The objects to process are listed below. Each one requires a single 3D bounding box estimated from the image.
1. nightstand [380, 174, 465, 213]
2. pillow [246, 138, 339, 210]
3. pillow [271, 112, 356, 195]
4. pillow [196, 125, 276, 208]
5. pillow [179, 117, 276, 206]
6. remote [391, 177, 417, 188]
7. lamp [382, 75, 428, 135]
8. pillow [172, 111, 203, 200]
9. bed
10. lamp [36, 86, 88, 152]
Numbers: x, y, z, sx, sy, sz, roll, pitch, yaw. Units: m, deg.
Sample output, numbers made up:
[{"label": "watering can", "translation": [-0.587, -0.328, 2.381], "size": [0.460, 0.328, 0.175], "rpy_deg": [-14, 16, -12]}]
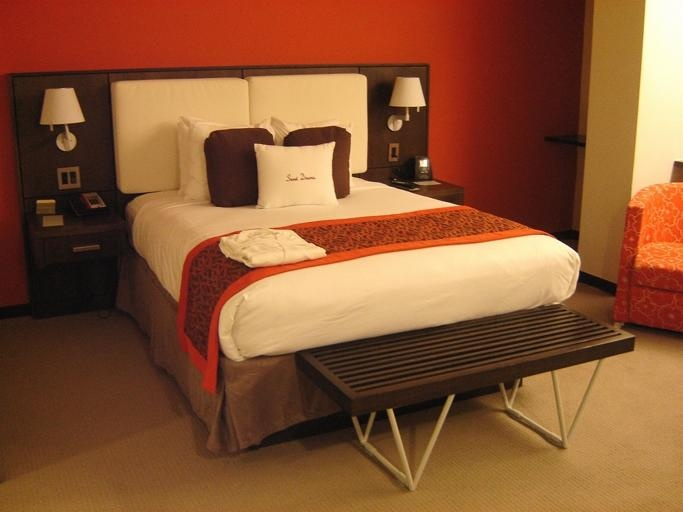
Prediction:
[{"label": "nightstand", "translation": [0.787, -0.693, 4.948], "size": [0.588, 0.376, 0.389], "rpy_deg": [-12, 28, -28]}, {"label": "pillow", "translation": [-0.364, -0.559, 3.833], "size": [0.488, 0.348, 0.168], "rpy_deg": [-8, -14, -16]}, {"label": "pillow", "translation": [-0.204, -0.762, 4.218], "size": [0.662, 0.620, 0.194], "rpy_deg": [-6, -2, -36]}, {"label": "pillow", "translation": [-0.800, -0.629, 3.937], "size": [0.200, 0.562, 0.577], "rpy_deg": [7, 12, 25]}, {"label": "pillow", "translation": [-0.948, -0.670, 4.205], "size": [0.776, 0.614, 0.869], "rpy_deg": [3, 14, 38]}, {"label": "remote", "translation": [0.573, -0.661, 4.930], "size": [0.079, 0.037, 0.342], "rpy_deg": [-4, 14, -24]}, {"label": "lamp", "translation": [0.586, -1.359, 4.968], "size": [0.341, 0.473, 0.397], "rpy_deg": [-11, 19, -30]}, {"label": "pillow", "translation": [-1.156, -0.719, 4.056], "size": [0.128, 0.506, 0.533], "rpy_deg": [3, 5, 7]}, {"label": "bed", "translation": [-0.362, 0.101, 3.801], "size": [2.703, 1.704, 2.719], "rpy_deg": [-10, 22, -27]}, {"label": "lamp", "translation": [-1.977, -0.950, 3.909], "size": [0.285, 0.450, 0.257], "rpy_deg": [-13, 21, -32]}]
